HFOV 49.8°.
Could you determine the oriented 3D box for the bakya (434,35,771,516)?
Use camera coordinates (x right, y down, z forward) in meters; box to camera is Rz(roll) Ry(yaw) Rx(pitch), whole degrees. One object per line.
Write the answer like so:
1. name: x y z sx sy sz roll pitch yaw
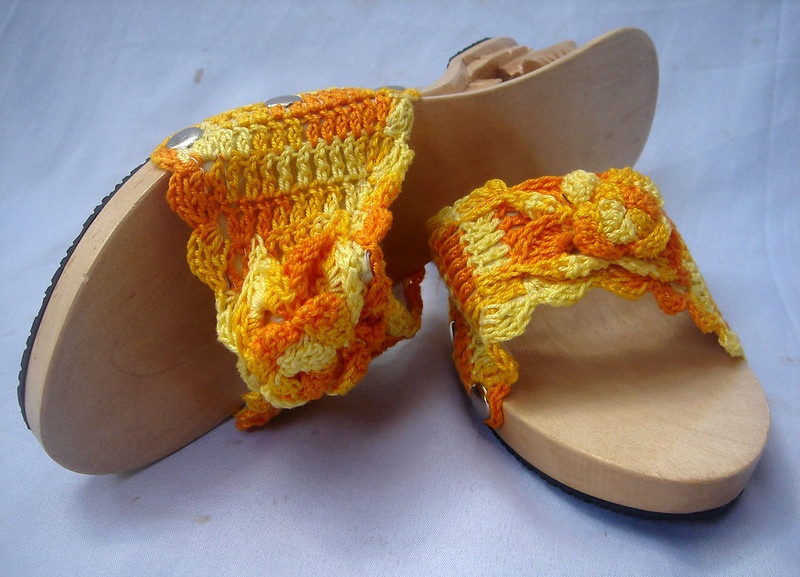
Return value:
1. bakya: 0.293 -0.009 1.293 0.353 0.238 0.766 -17 80 14
